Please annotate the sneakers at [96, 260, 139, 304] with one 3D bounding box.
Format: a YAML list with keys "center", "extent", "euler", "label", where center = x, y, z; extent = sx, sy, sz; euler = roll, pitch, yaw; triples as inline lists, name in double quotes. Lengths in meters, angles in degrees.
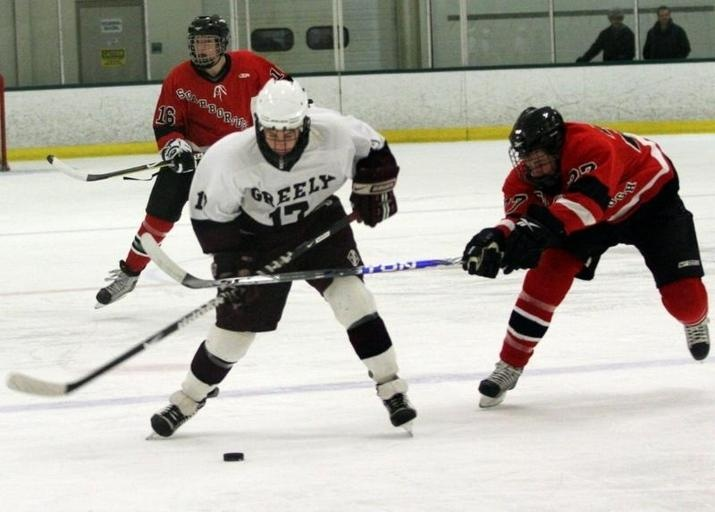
- center: [-1.269, 0.126, 4.564]
  extent: [0.131, 0.150, 0.359]
  euler: [33, 20, 6]
  label: "sneakers"

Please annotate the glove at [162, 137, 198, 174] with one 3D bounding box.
- center: [-0.888, -0.492, 4.397]
  extent: [0.155, 0.074, 0.197]
  euler: [-35, 43, -11]
  label: "glove"

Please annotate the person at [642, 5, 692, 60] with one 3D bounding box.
- center: [3.832, -2.722, 10.849]
  extent: [0.572, 0.654, 0.299]
  euler: [2, 13, -3]
  label: "person"

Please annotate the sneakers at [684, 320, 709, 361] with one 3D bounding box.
- center: [1.322, 0.327, 3.445]
  extent: [0.074, 0.173, 0.081]
  euler: [-20, -37, 29]
  label: "sneakers"

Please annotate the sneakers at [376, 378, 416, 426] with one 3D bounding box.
- center: [0.127, 0.504, 3.109]
  extent: [0.088, 0.086, 0.212]
  euler: [-30, 20, 0]
  label: "sneakers"

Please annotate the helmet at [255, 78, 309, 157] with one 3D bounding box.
- center: [-0.276, -0.489, 3.130]
  extent: [0.202, 0.264, 0.238]
  euler: [1, 12, -4]
  label: "helmet"

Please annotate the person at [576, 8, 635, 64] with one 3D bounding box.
- center: [3.117, -2.729, 10.992]
  extent: [0.681, 0.631, 0.187]
  euler: [1, 13, -3]
  label: "person"

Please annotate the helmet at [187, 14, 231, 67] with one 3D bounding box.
- center: [-0.759, -1.079, 4.479]
  extent: [0.197, 0.269, 0.190]
  euler: [0, 12, -10]
  label: "helmet"

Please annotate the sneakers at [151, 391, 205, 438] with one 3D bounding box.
- center: [-0.628, 0.544, 3.157]
  extent: [0.098, 0.084, 0.240]
  euler: [16, 35, 37]
  label: "sneakers"

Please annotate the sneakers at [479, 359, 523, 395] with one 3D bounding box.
- center: [0.536, 0.468, 3.310]
  extent: [0.084, 0.127, 0.206]
  euler: [10, 13, 32]
  label: "sneakers"
